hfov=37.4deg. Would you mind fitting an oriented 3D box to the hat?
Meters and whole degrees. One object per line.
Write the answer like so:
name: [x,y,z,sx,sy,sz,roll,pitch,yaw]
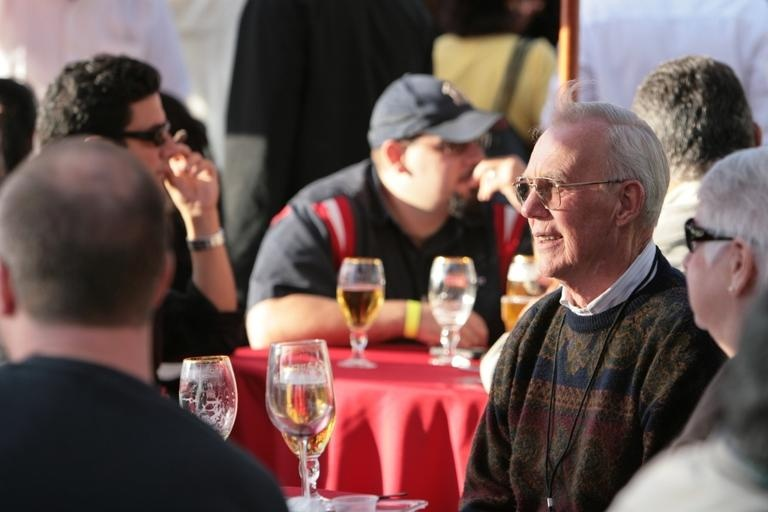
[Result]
hat: [0.185,-0.614,4.833,0.402,0.241,0.320,-3,15,12]
